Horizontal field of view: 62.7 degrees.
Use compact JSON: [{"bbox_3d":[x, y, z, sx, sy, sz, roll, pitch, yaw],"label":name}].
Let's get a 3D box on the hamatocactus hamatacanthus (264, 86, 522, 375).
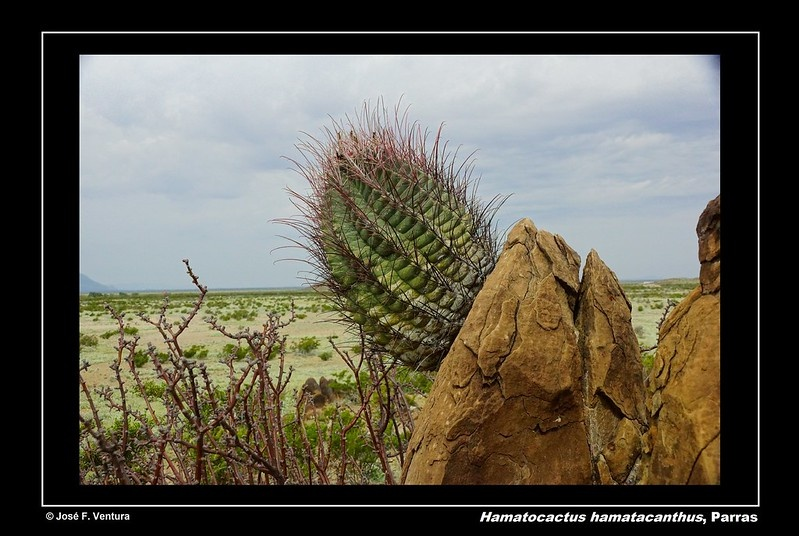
[{"bbox_3d":[-0.021,-0.181,5.054,1.360,1.899,0.523,-6,-8,7],"label":"hamatocactus hamatacanthus"}]
